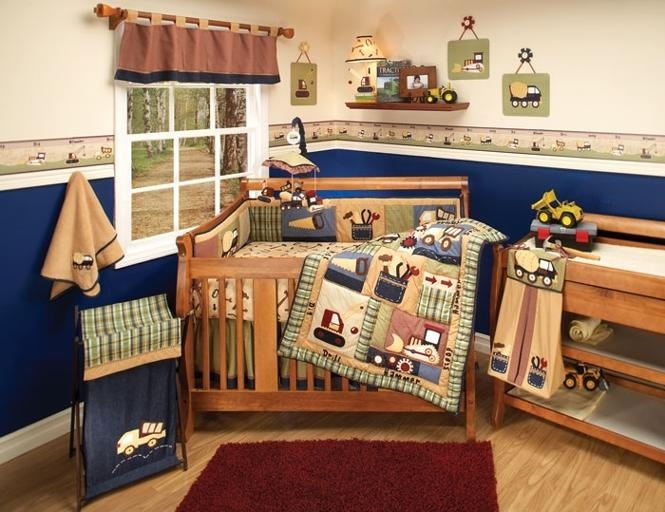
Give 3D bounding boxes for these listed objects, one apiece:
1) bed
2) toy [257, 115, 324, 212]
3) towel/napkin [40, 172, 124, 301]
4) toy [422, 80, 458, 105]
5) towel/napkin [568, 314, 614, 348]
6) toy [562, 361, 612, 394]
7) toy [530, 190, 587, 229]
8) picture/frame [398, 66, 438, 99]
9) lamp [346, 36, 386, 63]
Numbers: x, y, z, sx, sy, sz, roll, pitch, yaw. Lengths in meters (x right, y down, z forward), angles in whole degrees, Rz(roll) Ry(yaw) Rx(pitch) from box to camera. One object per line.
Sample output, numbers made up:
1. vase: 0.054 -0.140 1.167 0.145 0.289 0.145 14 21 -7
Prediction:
1. bed: -0.158 0.146 3.142 1.411 0.930 1.515 0 15 4
2. toy: -0.257 -0.605 3.244 0.362 0.560 0.364 5 6 1
3. towel/napkin: -1.223 -0.103 2.479 0.214 0.576 0.312 6 17 21
4. toy: 0.697 -1.068 3.329 0.218 0.145 0.124 3 17 19
5. towel/napkin: 1.266 0.376 2.531 0.161 0.070 0.162 -2 16 40
6. toy: 1.307 0.614 2.678 0.243 0.154 0.142 -1 4 19
7. toy: 1.214 -0.250 2.735 0.180 0.173 0.245 -9 12 -28
8. picture/frame: 0.573 -1.153 3.403 0.256 0.224 0.037 2 1 28
9. lamp: 0.224 -1.359 3.486 0.235 0.159 0.231 -16 22 -34
